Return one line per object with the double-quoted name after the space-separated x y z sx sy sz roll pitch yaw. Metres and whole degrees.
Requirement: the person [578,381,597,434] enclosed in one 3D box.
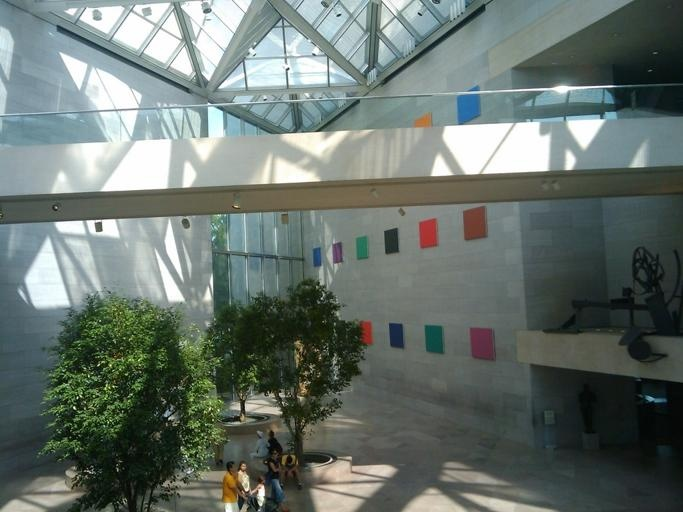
8.919 5.535 20.294 0.613 1.714 0.488 -1 2 10 "person"
